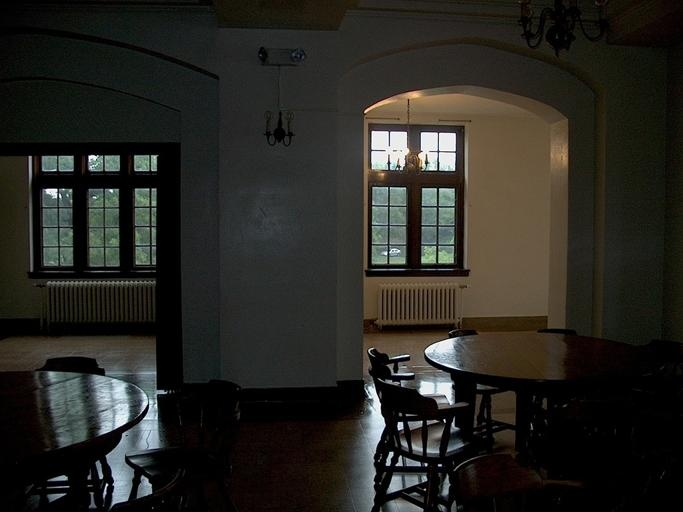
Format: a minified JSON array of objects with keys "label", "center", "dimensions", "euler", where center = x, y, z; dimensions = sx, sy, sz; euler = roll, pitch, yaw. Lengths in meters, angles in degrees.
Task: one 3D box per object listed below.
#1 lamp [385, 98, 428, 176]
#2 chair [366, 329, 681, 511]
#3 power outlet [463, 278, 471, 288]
[{"label":"lamp","center":[1.062,-1.834,9.270],"dimensions":[0.536,1.129,0.507],"euler":[-4,3,41]},{"label":"chair","center":[1.521,1.417,4.956],"dimensions":[2.492,1.290,2.329],"euler":[0,0,2]},{"label":"power outlet","center":[2.106,0.441,10.214],"dimensions":[0.155,0.150,0.037],"euler":[4,0,-15]}]
